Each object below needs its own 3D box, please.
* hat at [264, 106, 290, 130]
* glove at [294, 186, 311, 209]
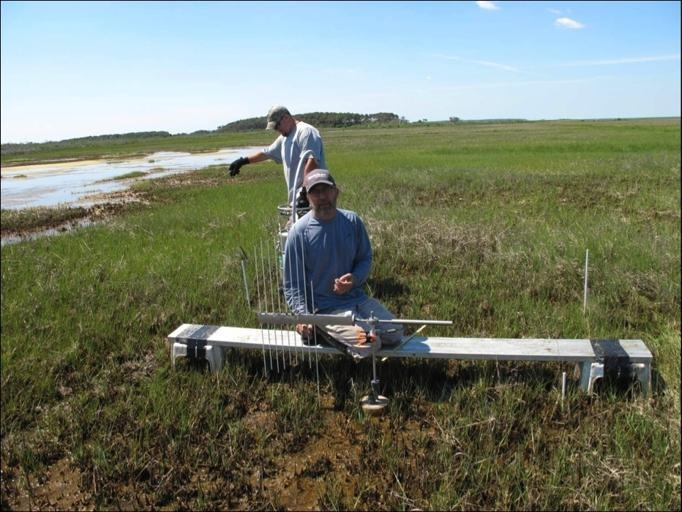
[{"bbox_3d":[-0.919,-1.923,7.757,0.392,0.311,0.249,8,20,37],"label":"hat"},{"bbox_3d":[-0.483,-0.732,7.004,0.154,0.279,0.306,10,63,9],"label":"glove"}]
